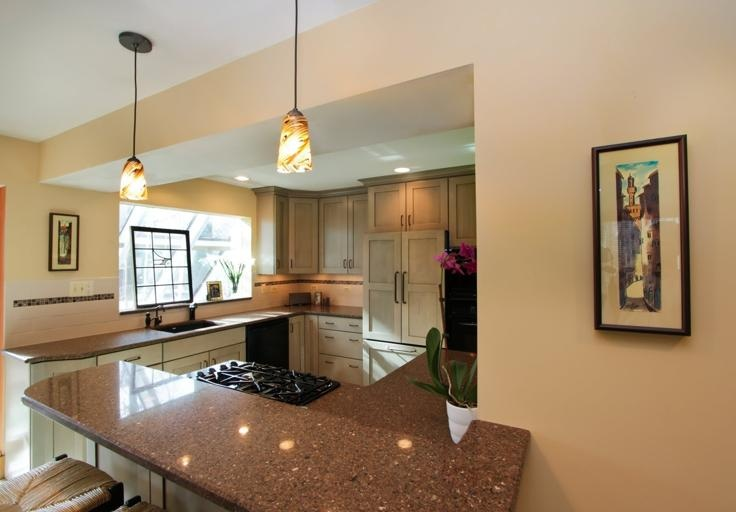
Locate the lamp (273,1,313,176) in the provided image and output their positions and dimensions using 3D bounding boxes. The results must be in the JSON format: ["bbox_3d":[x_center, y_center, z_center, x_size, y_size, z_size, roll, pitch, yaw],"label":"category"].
[{"bbox_3d":[-0.355,-0.787,2.435,0.141,0.820,0.435,-2,1,-7],"label":"lamp"}]

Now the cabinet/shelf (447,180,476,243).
[{"bbox_3d":[0.843,-0.415,4.653,0.097,0.618,0.233,-3,2,-42],"label":"cabinet/shelf"}]

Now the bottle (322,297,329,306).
[{"bbox_3d":[-0.498,0.540,6.040,0.078,0.148,0.079,0,-3,0],"label":"bottle"}]

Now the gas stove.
[{"bbox_3d":[-0.627,0.727,2.948,0.833,0.127,0.550,-2,1,33],"label":"gas stove"}]

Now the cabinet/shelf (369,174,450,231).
[{"bbox_3d":[0.426,-0.459,5.062,0.846,0.488,0.296,-1,-2,25],"label":"cabinet/shelf"}]

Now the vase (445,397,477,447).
[{"bbox_3d":[0.407,0.728,2.270,0.165,0.184,0.167,1,-10,4],"label":"vase"}]

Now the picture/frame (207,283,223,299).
[{"bbox_3d":[-1.547,0.354,5.177,0.012,0.174,0.153,-11,-12,30],"label":"picture/frame"}]

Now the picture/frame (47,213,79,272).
[{"bbox_3d":[-2.252,-0.096,3.829,0.187,0.429,0.031,0,-2,-8],"label":"picture/frame"}]

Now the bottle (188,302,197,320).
[{"bbox_3d":[-1.632,0.520,4.802,0.077,0.130,0.151,-2,1,-15],"label":"bottle"}]

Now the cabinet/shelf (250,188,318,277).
[{"bbox_3d":[-0.877,-0.270,5.677,0.711,0.623,0.320,-2,1,-9],"label":"cabinet/shelf"}]

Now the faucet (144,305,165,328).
[{"bbox_3d":[-1.834,0.529,4.441,0.095,0.155,0.235,-2,1,0],"label":"faucet"}]
